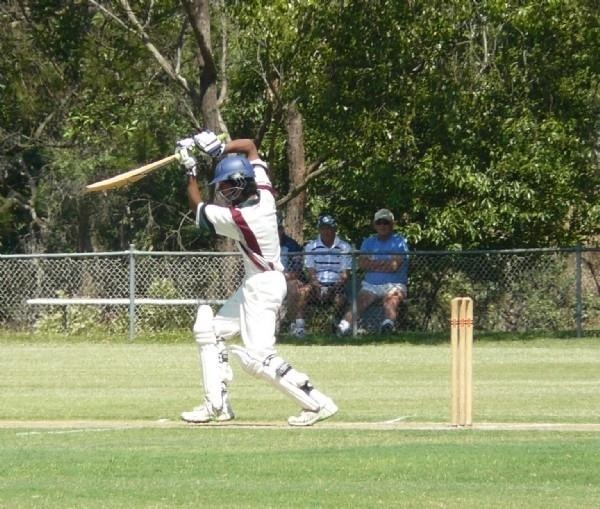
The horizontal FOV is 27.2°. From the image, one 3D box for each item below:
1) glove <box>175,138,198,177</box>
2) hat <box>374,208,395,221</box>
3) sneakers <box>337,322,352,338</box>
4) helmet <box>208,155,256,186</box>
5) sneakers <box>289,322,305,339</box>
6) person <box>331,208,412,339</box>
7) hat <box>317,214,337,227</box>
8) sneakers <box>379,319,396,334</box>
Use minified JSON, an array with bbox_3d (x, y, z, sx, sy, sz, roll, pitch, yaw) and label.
[{"bbox_3d":[-1.339,-1.148,14.990,0.253,0.443,0.180,-22,-12,16],"label":"glove"},{"bbox_3d":[1.393,-0.650,20.229,0.255,0.208,0.439,0,-8,7],"label":"hat"},{"bbox_3d":[0.710,1.194,19.648,0.188,0.199,0.222,-12,-42,36],"label":"sneakers"},{"bbox_3d":[-0.775,-1.004,14.589,0.403,0.243,0.332,3,-7,-24],"label":"helmet"},{"bbox_3d":[-0.037,1.215,19.662,0.182,0.254,0.242,5,4,0],"label":"sneakers"},{"bbox_3d":[1.217,0.264,19.942,1.099,1.870,1.093,1,9,5],"label":"person"},{"bbox_3d":[0.486,-0.582,21.441,0.273,0.224,0.417,-2,-25,5],"label":"hat"},{"bbox_3d":[1.397,1.151,19.597,0.214,0.162,0.180,-6,-5,26],"label":"sneakers"}]
